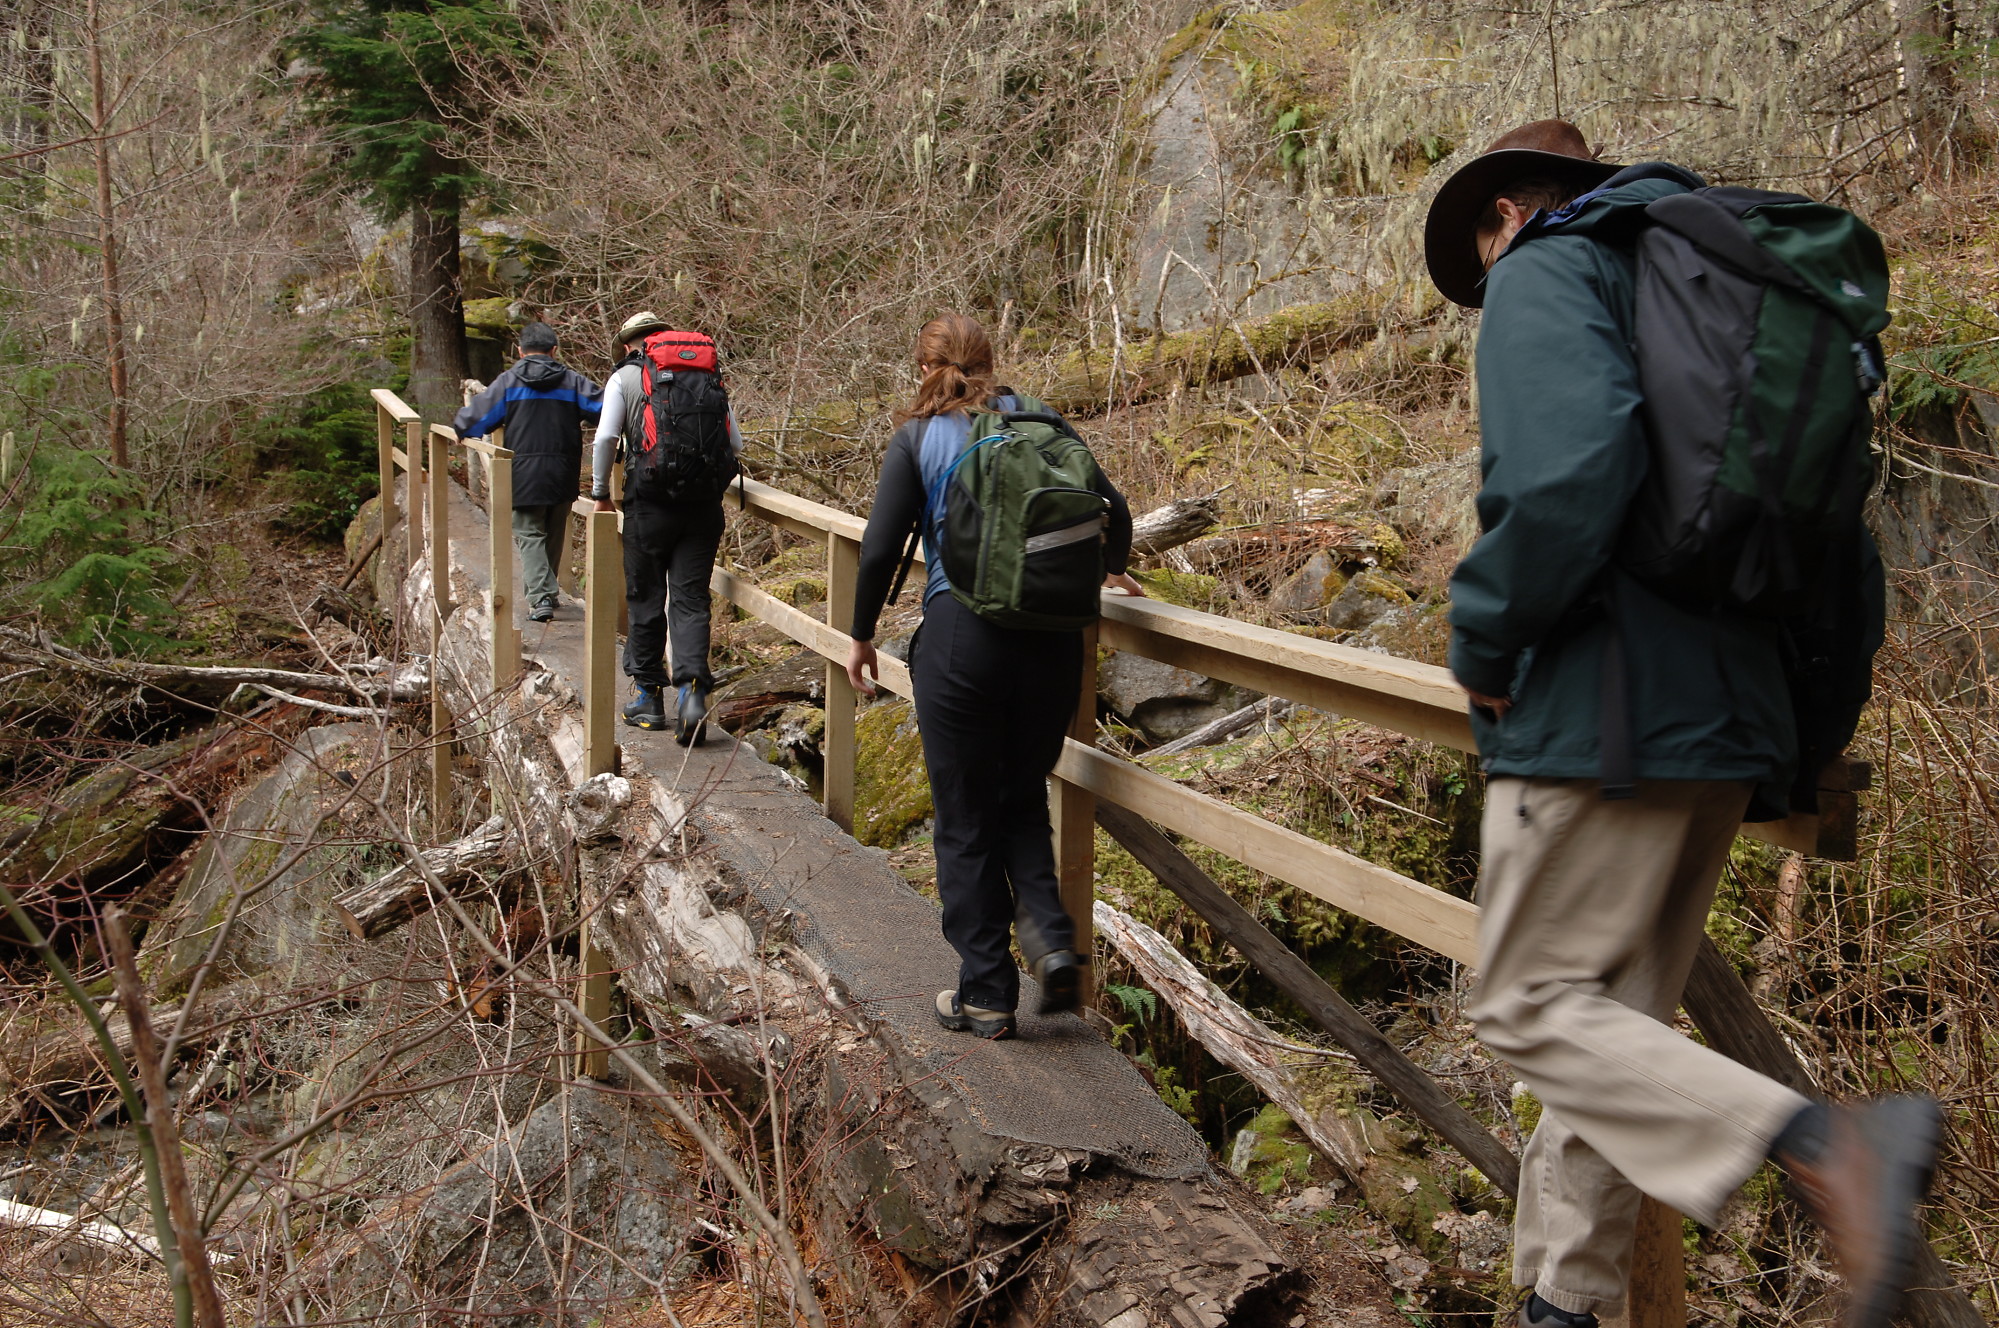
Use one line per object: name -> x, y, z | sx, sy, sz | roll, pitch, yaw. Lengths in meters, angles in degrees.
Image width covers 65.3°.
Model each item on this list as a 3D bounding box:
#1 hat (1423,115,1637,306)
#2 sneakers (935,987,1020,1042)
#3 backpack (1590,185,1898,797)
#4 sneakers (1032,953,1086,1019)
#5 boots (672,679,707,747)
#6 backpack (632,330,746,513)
hat -> 1.363, -1.245, 4.197 | 0.523, 0.464, 0.219 | 4, 48, -16
sneakers -> -0.075, 1.138, 4.982 | 0.261, 0.137, 0.122 | 20, 25, 35
backpack -> 1.839, -0.475, 3.723 | 0.824, 1.209, 0.458 | 2, 7, -30
sneakers -> 0.197, 1.030, 5.029 | 0.107, 0.313, 0.147 | 3, 50, -7
boots -> -1.450, 0.229, 7.310 | 0.116, 0.335, 0.149 | 4, 46, -11
backpack -> -1.519, -1.186, 7.441 | 0.505, 0.831, 0.459 | -5, 4, -41
